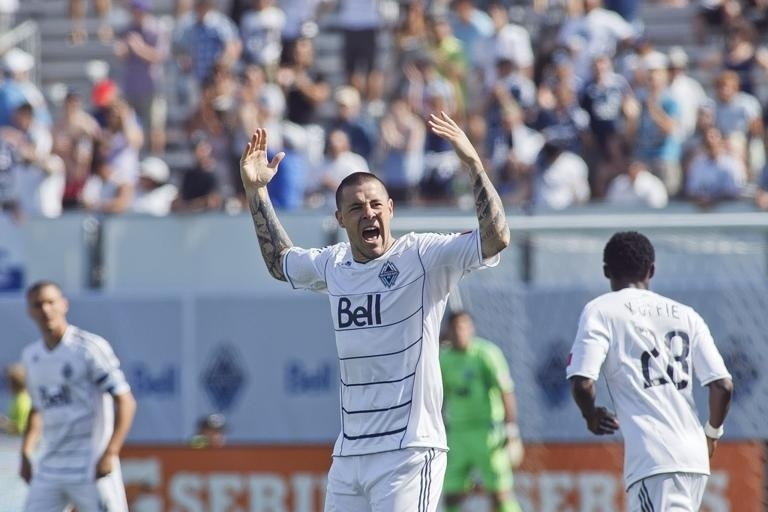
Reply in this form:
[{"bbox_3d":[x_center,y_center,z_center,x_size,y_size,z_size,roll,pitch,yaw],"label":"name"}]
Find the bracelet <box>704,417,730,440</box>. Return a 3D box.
[{"bbox_3d":[3.198,1.710,20.403,0.195,0.166,0.209,7,8,13],"label":"bracelet"}]
